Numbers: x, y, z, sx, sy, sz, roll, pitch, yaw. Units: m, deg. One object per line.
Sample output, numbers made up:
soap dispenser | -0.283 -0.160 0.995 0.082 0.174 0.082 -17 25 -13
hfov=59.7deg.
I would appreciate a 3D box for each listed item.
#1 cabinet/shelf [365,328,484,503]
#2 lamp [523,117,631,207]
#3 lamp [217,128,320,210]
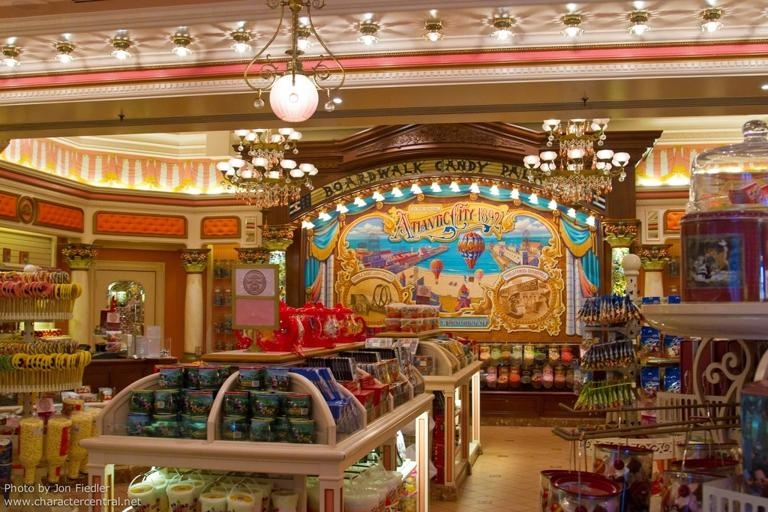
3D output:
cabinet/shelf | 0.362 1.472 6.139 0.828 1.264 2.011 -1 -4 7
lamp | 2.729 -1.312 9.644 1.517 1.017 1.414 -9 10 4
lamp | -1.749 -1.484 9.683 1.360 1.612 1.369 0 6 -33
